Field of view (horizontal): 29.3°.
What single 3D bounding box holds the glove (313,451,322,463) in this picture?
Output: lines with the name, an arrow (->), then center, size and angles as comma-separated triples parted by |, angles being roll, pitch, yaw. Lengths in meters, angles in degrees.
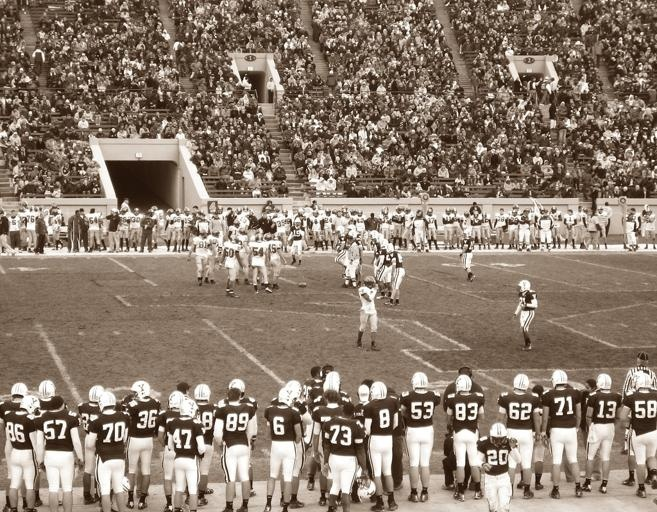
glove -> -0.238, 4.470, 27.894 | 0.188, 0.289, 0.111 | 24, 60, 34

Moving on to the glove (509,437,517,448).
glove -> 3.903, 3.983, 26.654 | 0.158, 0.210, 0.183 | -10, -5, 3

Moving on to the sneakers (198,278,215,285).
sneakers -> -4.339, 0.956, 44.559 | 0.640, 0.212, 0.278 | 10, 7, 36

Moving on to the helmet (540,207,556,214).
helmet -> 10.080, -2.021, 57.679 | 0.539, 0.251, 0.583 | 1, 4, 28

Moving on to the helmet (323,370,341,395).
helmet -> 0.083, 2.778, 27.492 | 0.306, 0.438, 0.428 | 3, -13, 2

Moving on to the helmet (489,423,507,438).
helmet -> 3.595, 3.736, 26.660 | 0.237, 0.271, 0.327 | 2, -20, 0

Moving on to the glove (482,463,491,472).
glove -> 3.296, 4.479, 26.446 | 0.149, 0.167, 0.272 | -5, 1, -22

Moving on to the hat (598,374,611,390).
hat -> 6.216, 2.884, 28.349 | 0.274, 0.367, 0.354 | 15, 16, 10

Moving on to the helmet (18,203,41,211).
helmet -> -12.630, -2.003, 53.254 | 0.674, 0.264, 0.496 | 3, 0, 2

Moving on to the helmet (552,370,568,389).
helmet -> 5.211, 2.849, 28.446 | 0.374, 0.455, 0.528 | 2, 11, 4

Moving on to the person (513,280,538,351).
person -> 5.848, 1.746, 37.346 | 0.645, 1.588, 2.411 | -4, 1, 8

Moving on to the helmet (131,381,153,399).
helmet -> -4.072, 2.944, 27.401 | 0.404, 0.352, 0.292 | 2, 0, -2

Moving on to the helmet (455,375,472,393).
helmet -> 2.999, 2.851, 27.957 | 0.290, 0.362, 0.371 | 5, 3, -26

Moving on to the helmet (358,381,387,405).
helmet -> 0.978, 3.002, 27.463 | 0.563, 0.475, 0.404 | -13, -4, 37

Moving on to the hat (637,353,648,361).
hat -> 7.619, 2.473, 30.502 | 0.225, 0.250, 0.241 | 1, 3, 6

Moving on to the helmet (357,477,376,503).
helmet -> 0.810, 5.166, 27.536 | 0.496, 0.429, 0.364 | -5, -2, -7

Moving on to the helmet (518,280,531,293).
helmet -> 5.745, 0.893, 36.995 | 0.435, 0.434, 0.359 | 7, -4, 15
